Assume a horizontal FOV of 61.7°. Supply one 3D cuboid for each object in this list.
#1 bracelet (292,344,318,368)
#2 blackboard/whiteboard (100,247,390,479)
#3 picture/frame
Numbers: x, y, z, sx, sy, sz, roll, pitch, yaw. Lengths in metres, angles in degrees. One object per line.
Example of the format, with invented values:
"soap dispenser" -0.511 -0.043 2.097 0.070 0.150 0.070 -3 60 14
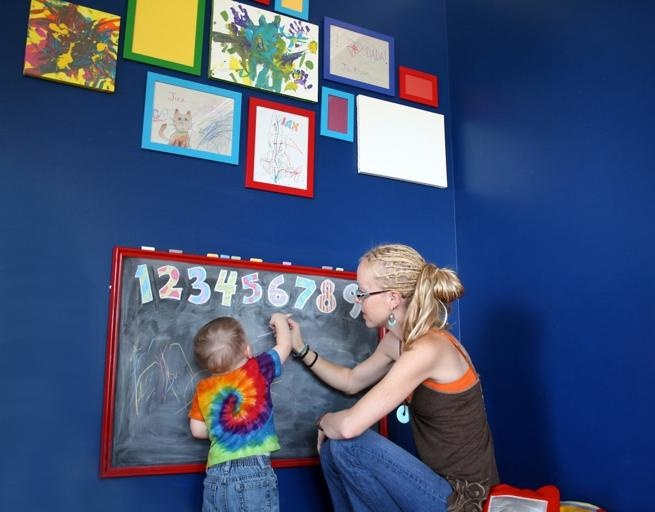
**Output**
"bracelet" -0.100 0.431 2.389 0.112 0.086 0.053 38 1 13
"blackboard/whiteboard" -0.377 0.452 2.217 0.899 0.707 0.037 5 -17 -27
"picture/frame" -0.263 -0.707 2.590 0.988 0.625 0.019 10 -22 -28
